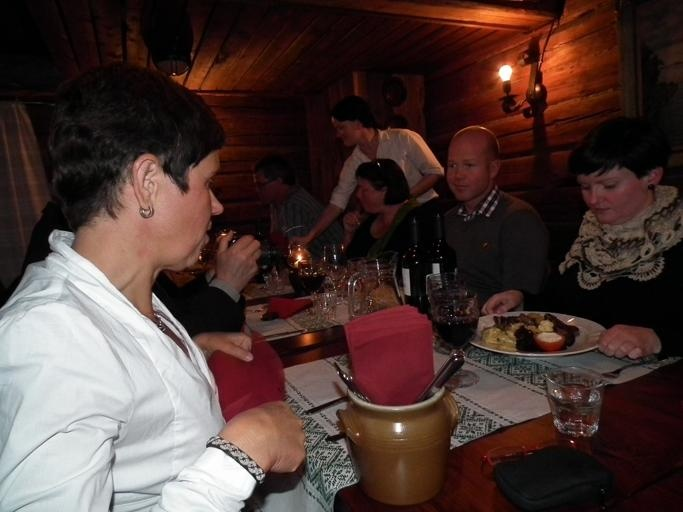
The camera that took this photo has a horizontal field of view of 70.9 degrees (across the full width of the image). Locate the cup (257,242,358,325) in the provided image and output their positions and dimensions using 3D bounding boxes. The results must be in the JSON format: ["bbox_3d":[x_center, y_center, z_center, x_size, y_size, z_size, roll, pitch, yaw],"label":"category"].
[{"bbox_3d":[-0.118,0.089,1.960,0.301,0.187,0.300,-2,8,0],"label":"cup"}]

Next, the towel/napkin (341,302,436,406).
[{"bbox_3d":[0.083,0.156,0.881,0.142,0.179,0.071,-6,6,-14],"label":"towel/napkin"}]

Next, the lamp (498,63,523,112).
[{"bbox_3d":[1.346,-1.357,3.812,0.169,0.391,0.304,-2,13,19],"label":"lamp"}]

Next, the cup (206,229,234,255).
[{"bbox_3d":[-0.586,-0.073,2.298,0.099,0.067,0.298,35,6,8],"label":"cup"}]

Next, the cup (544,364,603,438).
[{"bbox_3d":[0.482,0.309,1.005,0.126,0.114,0.123,-1,10,0],"label":"cup"}]

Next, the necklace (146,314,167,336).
[{"bbox_3d":[-0.421,0.158,1.113,0.015,0.059,0.037,-12,45,16],"label":"necklace"}]
